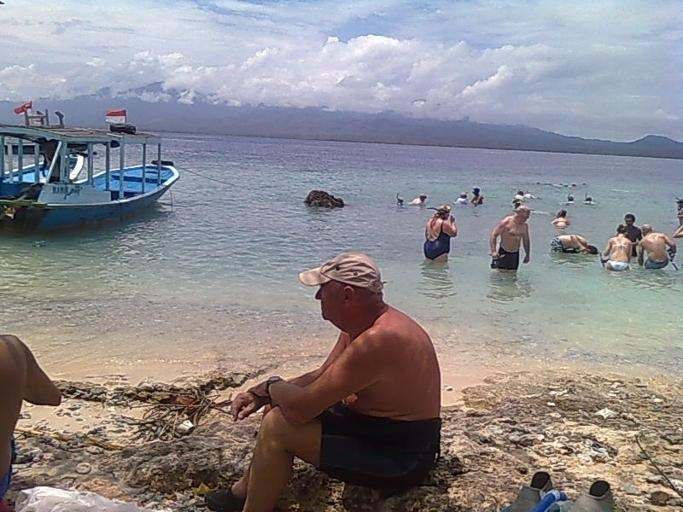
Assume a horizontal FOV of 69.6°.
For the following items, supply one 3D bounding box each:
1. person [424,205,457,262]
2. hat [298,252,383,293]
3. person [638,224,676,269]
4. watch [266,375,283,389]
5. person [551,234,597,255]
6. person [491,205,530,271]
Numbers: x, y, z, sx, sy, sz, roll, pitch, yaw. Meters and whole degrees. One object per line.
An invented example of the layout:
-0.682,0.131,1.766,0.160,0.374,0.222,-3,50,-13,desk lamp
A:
3.222,-0.733,16.016,1.027,1.803,0.686,6,8,21,person
-0.005,0.132,3.787,0.576,0.201,0.323,5,-5,4,hat
10.360,-0.276,16.072,1.036,1.378,1.240,7,7,28,person
-0.551,1.005,3.916,0.127,0.091,0.110,-4,-14,11,watch
8.564,-0.432,17.961,1.480,0.515,0.762,3,14,5,person
5.062,-0.519,14.703,1.076,1.948,0.958,6,7,19,person
